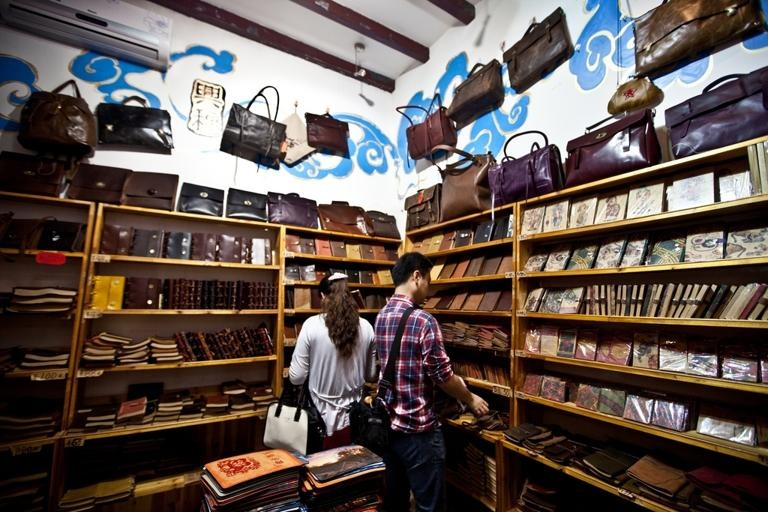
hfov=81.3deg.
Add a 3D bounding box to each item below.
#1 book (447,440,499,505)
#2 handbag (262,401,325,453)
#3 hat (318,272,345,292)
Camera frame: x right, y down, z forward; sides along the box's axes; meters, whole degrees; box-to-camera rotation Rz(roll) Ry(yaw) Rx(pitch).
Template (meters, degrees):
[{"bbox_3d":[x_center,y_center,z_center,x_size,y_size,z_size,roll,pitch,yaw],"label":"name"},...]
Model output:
[{"bbox_3d":[0.926,2.139,4.457,0.380,0.152,0.466,2,1,-5],"label":"book"},{"bbox_3d":[-0.746,1.439,3.750,0.471,0.446,0.186,2,-4,12],"label":"handbag"},{"bbox_3d":[-0.526,0.238,4.263,0.200,0.107,0.253,20,-38,-37],"label":"hat"}]
